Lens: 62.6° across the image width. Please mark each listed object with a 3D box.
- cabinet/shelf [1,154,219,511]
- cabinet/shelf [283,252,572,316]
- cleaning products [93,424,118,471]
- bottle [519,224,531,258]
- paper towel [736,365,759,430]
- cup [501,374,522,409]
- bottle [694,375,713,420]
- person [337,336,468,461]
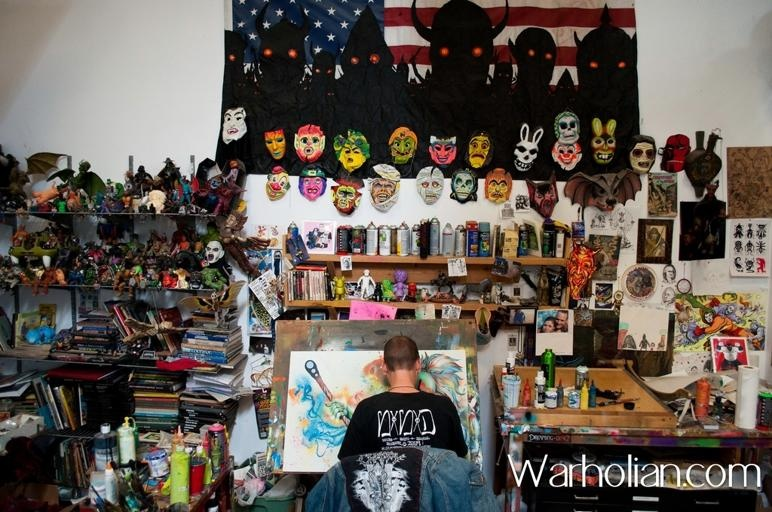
[{"bbox_3d":[-2.329,0.682,5.471,2.774,2.817,0.920,-1,-1,-3],"label":"cabinet/shelf"},{"bbox_3d":[0.367,0.287,5.821,2.638,0.568,0.467,1,-6,-9],"label":"cabinet/shelf"},{"bbox_3d":[-2.262,1.550,5.160,0.166,0.391,0.161,-5,11,-37],"label":"cleaning products"},{"bbox_3d":[1.233,-0.137,5.678,0.128,0.284,0.060,0,-3,-31],"label":"bottle"},{"bbox_3d":[2.985,1.172,5.266,0.229,0.508,0.131,-2,-2,11],"label":"paper towel"},{"bbox_3d":[1.039,1.126,5.294,0.133,0.266,0.182,-2,-2,11],"label":"cup"},{"bbox_3d":[2.679,1.196,5.391,0.093,0.404,0.094,-10,29,6],"label":"bottle"},{"bbox_3d":[0.114,1.090,4.727,0.913,1.357,0.411,0,4,5],"label":"person"}]
